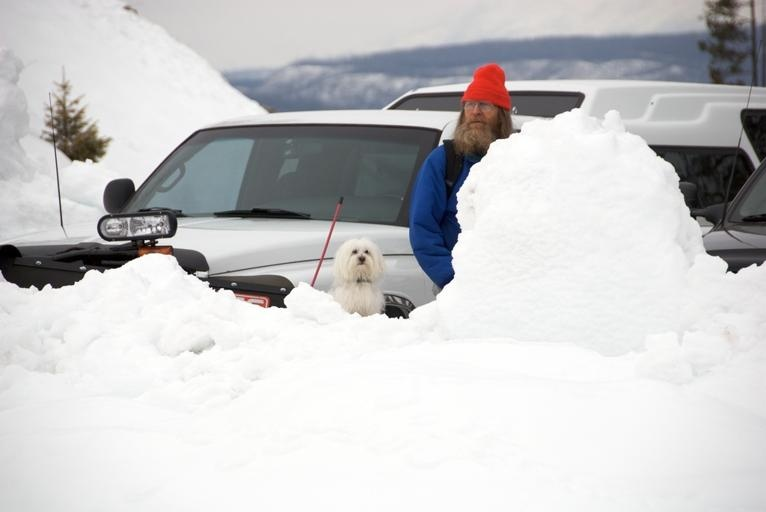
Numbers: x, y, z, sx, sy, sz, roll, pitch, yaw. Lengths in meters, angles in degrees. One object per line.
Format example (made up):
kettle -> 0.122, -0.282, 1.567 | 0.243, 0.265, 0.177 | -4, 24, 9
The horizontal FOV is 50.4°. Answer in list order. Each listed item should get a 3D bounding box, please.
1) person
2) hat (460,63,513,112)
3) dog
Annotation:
person -> 0.516, -0.592, 5.544 | 0.491, 1.392, 0.973 | 4, 12, 22
hat -> 0.757, -1.202, 5.844 | 0.408, 0.341, 0.325 | 9, 2, 3
dog -> -0.124, 0.148, 5.283 | 0.320, 0.510, 0.344 | -1, -2, 14
